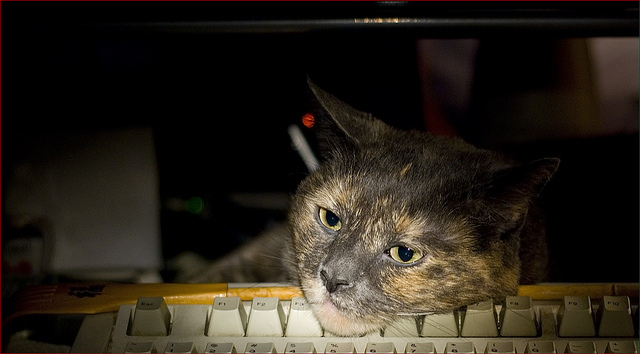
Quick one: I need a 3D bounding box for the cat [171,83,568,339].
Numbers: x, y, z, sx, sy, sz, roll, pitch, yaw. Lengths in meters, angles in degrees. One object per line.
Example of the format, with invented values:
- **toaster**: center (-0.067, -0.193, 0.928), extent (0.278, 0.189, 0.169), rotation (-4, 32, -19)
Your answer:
- **cat**: center (0.301, 0.082, 2.076), extent (0.960, 1.250, 0.476), rotation (6, 102, 33)
